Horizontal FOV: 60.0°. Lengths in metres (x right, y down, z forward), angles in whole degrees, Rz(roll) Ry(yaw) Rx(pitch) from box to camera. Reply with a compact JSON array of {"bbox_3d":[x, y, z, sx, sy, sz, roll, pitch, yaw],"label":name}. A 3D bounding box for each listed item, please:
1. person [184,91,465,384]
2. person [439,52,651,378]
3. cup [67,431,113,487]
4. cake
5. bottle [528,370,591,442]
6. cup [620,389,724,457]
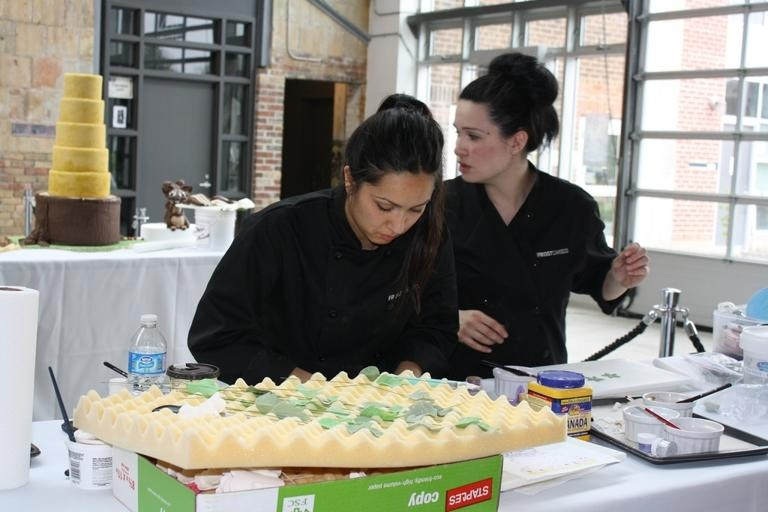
[{"bbox_3d":[-0.155,-0.043,1.916,0.788,0.828,0.356,2,6,-1],"label":"person"},{"bbox_3d":[0.551,-0.139,2.489,0.643,1.186,0.232,2,6,-5],"label":"person"},{"bbox_3d":[-0.626,0.442,1.462,0.110,0.103,0.110,0,-2,0],"label":"cup"},{"bbox_3d":[-1.652,-0.497,3.525,0.434,0.890,0.254,-1,7,-28],"label":"cake"},{"bbox_3d":[0.436,0.375,1.662,0.140,0.167,0.132,2,6,0],"label":"bottle"},{"bbox_3d":[0.691,0.405,1.647,0.129,0.063,0.173,-7,6,-37],"label":"cup"}]
